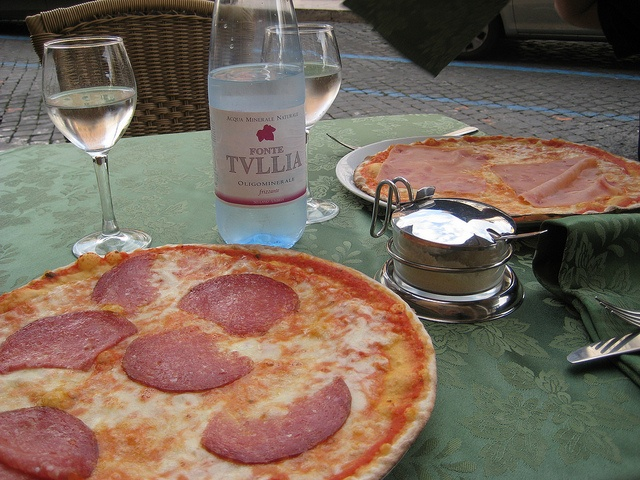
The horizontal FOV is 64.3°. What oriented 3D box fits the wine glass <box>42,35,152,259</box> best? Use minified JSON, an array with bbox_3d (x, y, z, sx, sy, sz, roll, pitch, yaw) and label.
[{"bbox_3d":[-0.411,-0.204,1.105,0.312,0.405,0.278,20,25,35],"label":"wine glass"}]
